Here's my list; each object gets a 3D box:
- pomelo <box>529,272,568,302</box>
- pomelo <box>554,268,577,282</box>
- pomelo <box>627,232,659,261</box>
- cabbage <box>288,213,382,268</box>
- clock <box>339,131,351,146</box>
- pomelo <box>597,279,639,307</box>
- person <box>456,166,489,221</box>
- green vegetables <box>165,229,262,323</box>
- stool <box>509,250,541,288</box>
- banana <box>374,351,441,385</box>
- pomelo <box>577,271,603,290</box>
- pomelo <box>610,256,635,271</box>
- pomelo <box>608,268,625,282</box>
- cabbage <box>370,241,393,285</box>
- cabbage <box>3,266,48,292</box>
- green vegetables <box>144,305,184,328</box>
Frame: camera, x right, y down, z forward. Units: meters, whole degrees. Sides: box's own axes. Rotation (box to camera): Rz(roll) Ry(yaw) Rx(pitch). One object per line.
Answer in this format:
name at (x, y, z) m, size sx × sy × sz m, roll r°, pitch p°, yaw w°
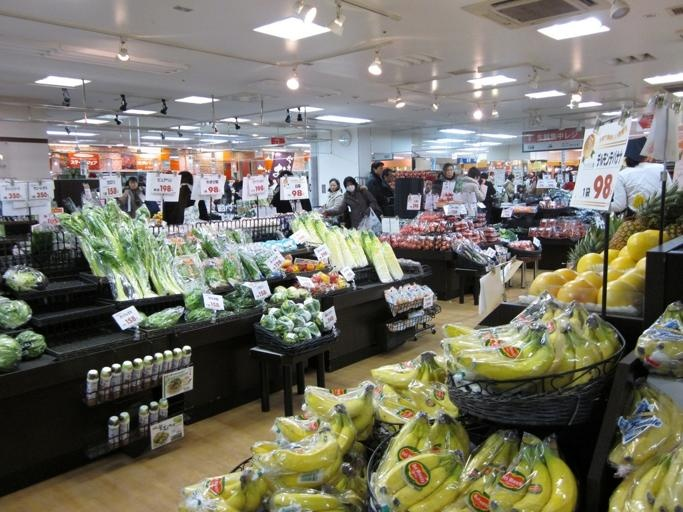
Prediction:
pomelo at (0.847, 0.120, 1.882) m, size 0.158 × 0.126 × 0.128 m, roll -16°, pitch 20°, yaw -8°
pomelo at (0.955, 0.073, 1.896) m, size 0.061 × 0.044 × 0.078 m, roll 1°, pitch 5°, yaw 11°
pomelo at (1.256, -0.041, 1.843) m, size 0.079 × 0.074 × 0.077 m, roll -30°, pitch 23°, yaw 19°
cabbage at (-0.115, -0.245, 4.983) m, size 0.530 × 0.208 × 0.847 m, roll 8°, pitch 30°, yaw -30°
clock at (0.134, -4.108, 15.471) m, size 0.467 × 0.456 × 0.112 m, roll 15°, pitch 15°, yaw 31°
pomelo at (1.056, 0.134, 1.705) m, size 0.124 × 0.101 × 0.102 m, roll 4°, pitch 15°, yaw -34°
person at (2.757, -1.379, 9.335) m, size 0.549 × 1.017 × 3.659 m, roll 2°, pitch 10°, yaw 18°
green vegetables at (-1.103, 0.137, 3.800) m, size 0.662 × 0.757 × 0.533 m, roll -8°, pitch 18°, yaw -41°
stool at (2.619, 0.178, 6.357) m, size 0.334 × 0.390 × 0.583 m, roll -5°, pitch 9°, yaw -28°
banana at (0.274, 0.418, 1.795) m, size 0.211 × 0.090 × 0.158 m, roll -11°, pitch 1°, yaw 0°
pomelo at (1.008, 0.086, 1.800) m, size 0.085 × 0.071 × 0.073 m, roll 11°, pitch 18°, yaw 21°
pomelo at (1.250, 0.033, 1.968) m, size 0.081 × 0.062 × 0.060 m, roll -29°, pitch 14°, yaw -16°
pomelo at (1.153, 0.078, 1.869) m, size 0.052 × 0.037 × 0.066 m, roll 1°, pitch -5°, yaw -1°
cabbage at (0.472, 0.065, 4.960) m, size 0.206 × 0.191 × 0.728 m, roll -31°, pitch 29°, yaw 8°
cabbage at (-2.132, 0.135, 2.989) m, size 0.176 × 0.127 × 0.231 m, roll -4°, pitch 6°, yaw -36°
green vegetables at (-1.292, 0.442, 3.246) m, size 0.124 × 0.080 × 0.223 m, roll 32°, pitch 36°, yaw 14°
